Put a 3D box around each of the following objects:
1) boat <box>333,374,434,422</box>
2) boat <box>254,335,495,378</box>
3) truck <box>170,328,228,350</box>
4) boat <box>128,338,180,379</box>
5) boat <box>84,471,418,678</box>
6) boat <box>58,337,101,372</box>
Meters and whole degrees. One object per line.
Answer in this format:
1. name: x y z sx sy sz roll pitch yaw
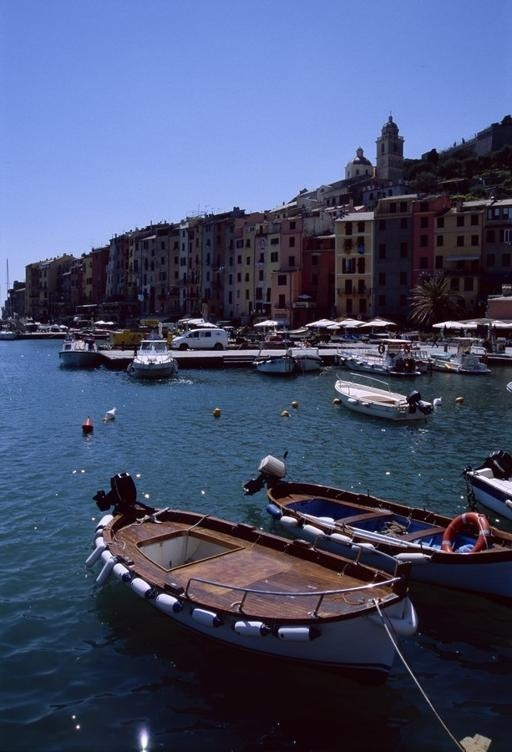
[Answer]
1. boat: 5.163 0.977 26.866 2.216 1.182 5.111 -1 6 -13
2. boat: 8.631 -1.401 46.076 11.679 1.143 14.485 -10 10 -40
3. truck: -4.601 -3.206 55.305 3.961 1.740 2.076 1 2 -2
4. boat: -6.626 -1.121 40.852 2.811 2.312 3.753 -1 6 -12
5. boat: 0.159 3.064 8.489 4.743 1.314 2.612 4 7 34
6. boat: -14.008 -1.800 50.577 2.909 2.088 4.892 -2 6 -20
